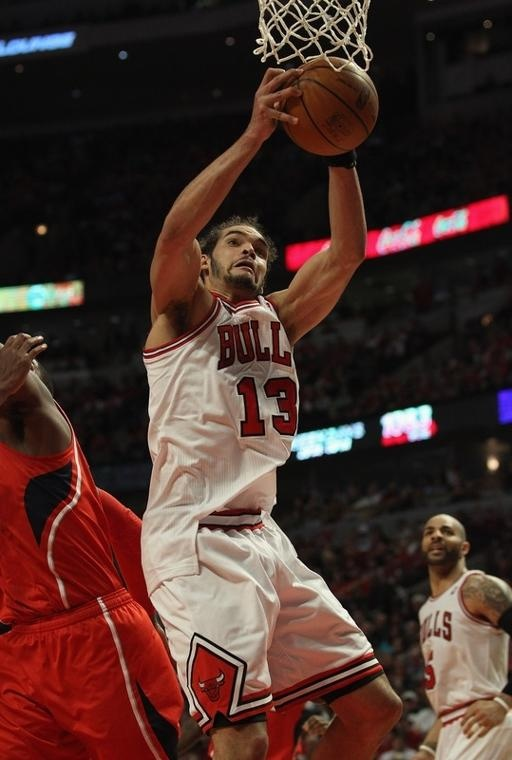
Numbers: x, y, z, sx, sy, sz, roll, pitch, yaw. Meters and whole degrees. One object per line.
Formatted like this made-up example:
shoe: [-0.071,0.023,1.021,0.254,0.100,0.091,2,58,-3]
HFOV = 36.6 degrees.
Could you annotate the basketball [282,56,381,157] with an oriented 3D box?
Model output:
basketball: [0.204,-0.912,2.698,0.352,0.361,0.333,-1,2,0]

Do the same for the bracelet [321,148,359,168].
bracelet: [0.320,-0.790,2.750,0.083,0.043,0.069,-6,9,-23]
